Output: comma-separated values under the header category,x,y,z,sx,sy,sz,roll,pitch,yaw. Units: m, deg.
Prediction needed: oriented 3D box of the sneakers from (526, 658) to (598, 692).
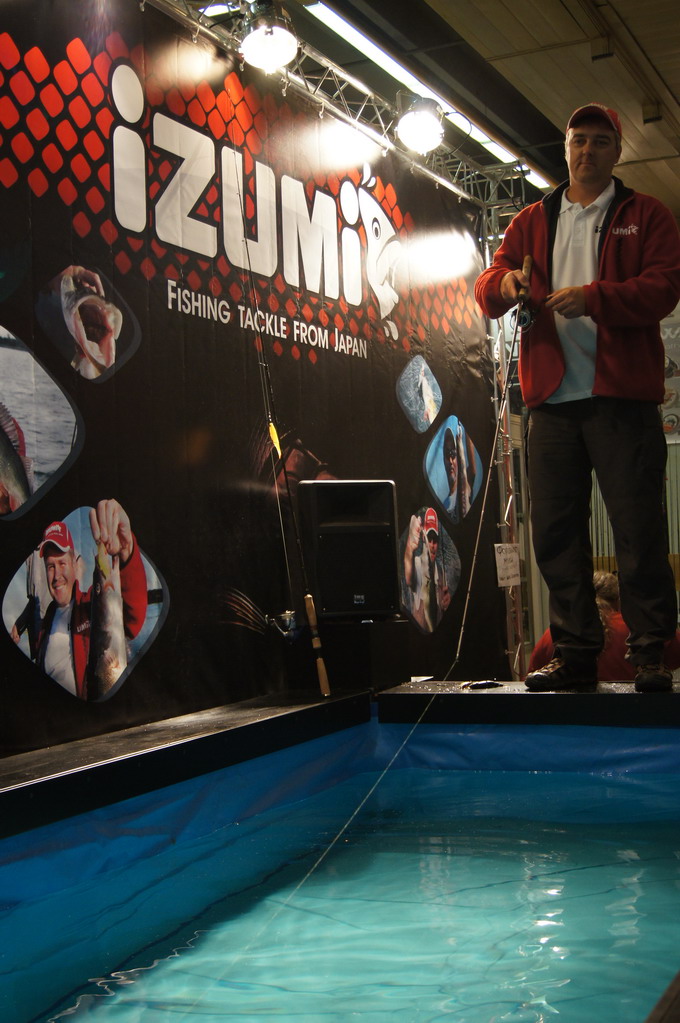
category,x,y,z,sx,sy,sz,roll,pitch,yaw
sneakers,0.634,0.457,2.101,0.219,0.110,0.087,3,-9,-4

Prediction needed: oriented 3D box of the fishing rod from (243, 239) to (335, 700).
category,x,y,z,sx,sy,sz,roll,pitch,yaw
fishing rod,-0.270,-0.171,3.558,0.157,2.310,0.157,-9,-4,-19

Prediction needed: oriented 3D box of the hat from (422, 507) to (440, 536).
category,x,y,z,sx,sy,sz,roll,pitch,yaw
hat,0.632,0.053,5.110,0.074,0.235,0.077,1,0,-7

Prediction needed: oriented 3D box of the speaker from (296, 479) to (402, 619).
category,x,y,z,sx,sy,sz,roll,pitch,yaw
speaker,0.066,0.326,3.695,0.512,0.504,0.799,-3,43,-2

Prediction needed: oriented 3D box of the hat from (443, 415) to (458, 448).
category,x,y,z,sx,sy,sz,roll,pitch,yaw
hat,0.822,-0.609,5.447,0.137,0.211,0.048,-1,3,-44
